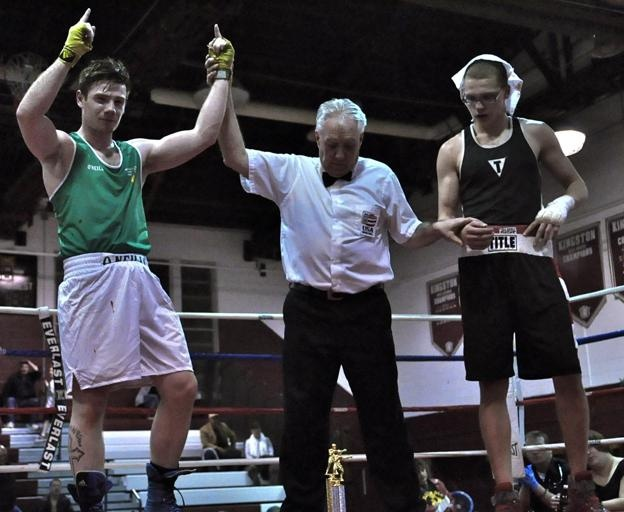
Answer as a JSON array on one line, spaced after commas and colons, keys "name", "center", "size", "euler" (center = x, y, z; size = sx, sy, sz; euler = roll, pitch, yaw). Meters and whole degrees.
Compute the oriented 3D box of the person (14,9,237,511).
[{"name": "person", "center": [-0.764, -0.015, 2.393], "size": [0.785, 1.944, 0.409], "euler": [6, -16, -28]}]
